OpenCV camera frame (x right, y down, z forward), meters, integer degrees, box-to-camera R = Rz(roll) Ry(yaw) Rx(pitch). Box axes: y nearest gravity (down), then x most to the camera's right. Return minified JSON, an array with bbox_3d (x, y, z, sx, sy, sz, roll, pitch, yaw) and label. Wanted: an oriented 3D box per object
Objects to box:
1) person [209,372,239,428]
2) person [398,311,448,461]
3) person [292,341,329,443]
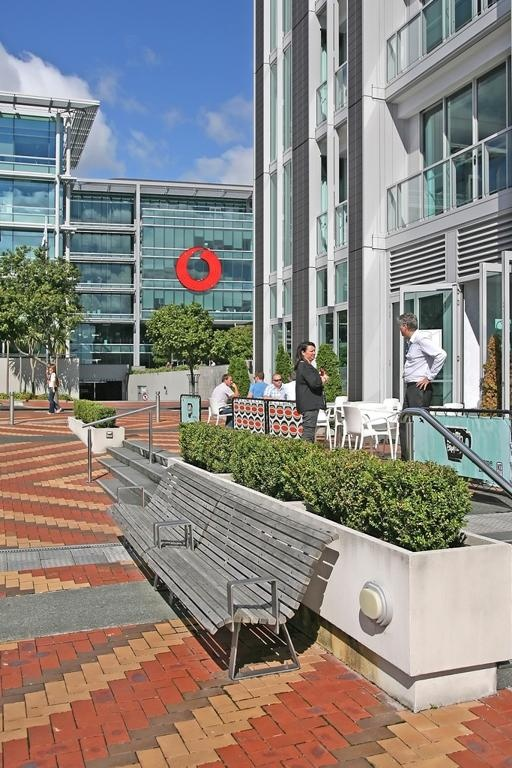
[{"bbox_3d":[-0.610,0.446,13.292,0.661,1.306,0.452,2,1,-33],"label":"person"},{"bbox_3d":[1.935,0.077,7.535,0.501,1.829,0.660,-1,2,-3],"label":"person"},{"bbox_3d":[0.636,0.079,7.708,0.355,1.100,0.734,-2,1,5],"label":"person"}]
